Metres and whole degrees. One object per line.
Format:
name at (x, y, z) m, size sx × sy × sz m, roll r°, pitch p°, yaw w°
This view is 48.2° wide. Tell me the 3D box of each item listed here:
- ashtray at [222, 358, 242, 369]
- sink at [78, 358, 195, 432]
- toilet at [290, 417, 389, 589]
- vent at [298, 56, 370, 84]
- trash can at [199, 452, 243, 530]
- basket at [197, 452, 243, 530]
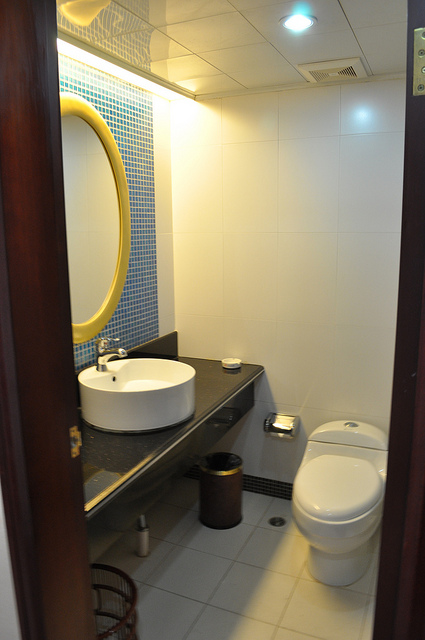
ashtray at (0.104, 0.215, 2.377) m, size 0.098 × 0.036 × 0.151 m, roll 1°, pitch 7°, yaw 3°
sink at (-0.255, 0.242, 1.642) m, size 0.380 × 0.177 × 0.472 m, roll 3°, pitch 7°, yaw 20°
toilet at (0.535, 0.756, 1.990) m, size 0.358 × 0.541 × 0.627 m, roll 3°, pitch 7°, yaw 21°
vent at (0.488, -0.982, 1.879) m, size 0.239 × 0.045 × 0.301 m, roll 4°, pitch 7°, yaw 25°
trash can at (0.041, 0.824, 2.251) m, size 0.201 × 0.314 × 0.125 m, roll 1°, pitch 6°, yaw -3°
basket at (0.036, 0.811, 2.219) m, size 0.268 × 0.414 × 0.266 m, roll 0°, pitch 7°, yaw 1°
